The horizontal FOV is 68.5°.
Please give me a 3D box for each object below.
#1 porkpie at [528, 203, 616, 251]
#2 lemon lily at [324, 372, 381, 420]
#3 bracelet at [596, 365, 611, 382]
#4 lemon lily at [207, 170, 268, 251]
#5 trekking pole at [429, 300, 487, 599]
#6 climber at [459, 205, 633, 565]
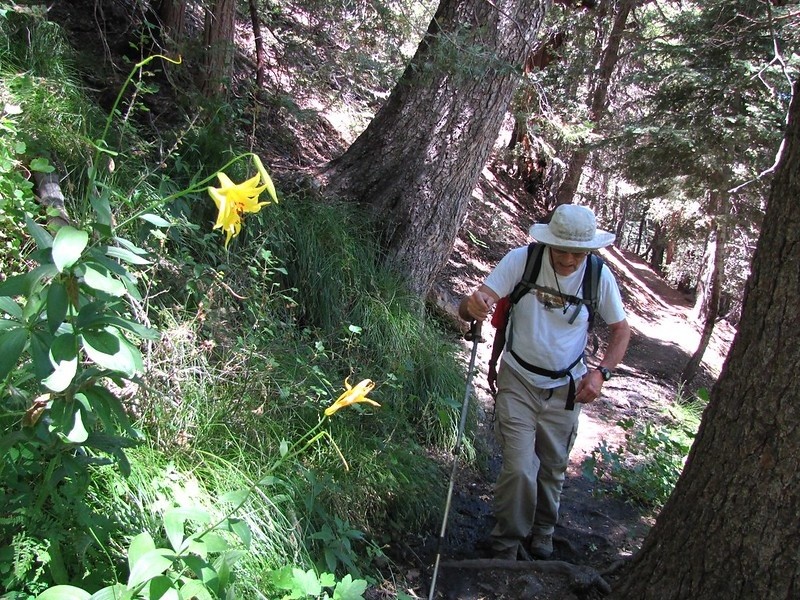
[{"bbox_3d":[1.156,-0.493,3.946,0.540,0.321,0.316,18,5,13],"label":"porkpie"},{"bbox_3d":[-0.198,0.404,2.409,0.318,0.093,0.200,-16,19,-2],"label":"lemon lily"},{"bbox_3d":[1.365,0.486,3.947,0.087,0.055,0.080,51,-4,-35],"label":"bracelet"},{"bbox_3d":[-0.659,-0.415,2.413,0.264,0.426,0.329,1,14,-7],"label":"lemon lily"},{"bbox_3d":[0.374,0.994,3.947,0.183,1.725,1.576,14,4,7],"label":"trekking pole"},{"bbox_3d":[1.019,0.565,4.329,0.851,2.383,1.498,9,5,19],"label":"climber"}]
